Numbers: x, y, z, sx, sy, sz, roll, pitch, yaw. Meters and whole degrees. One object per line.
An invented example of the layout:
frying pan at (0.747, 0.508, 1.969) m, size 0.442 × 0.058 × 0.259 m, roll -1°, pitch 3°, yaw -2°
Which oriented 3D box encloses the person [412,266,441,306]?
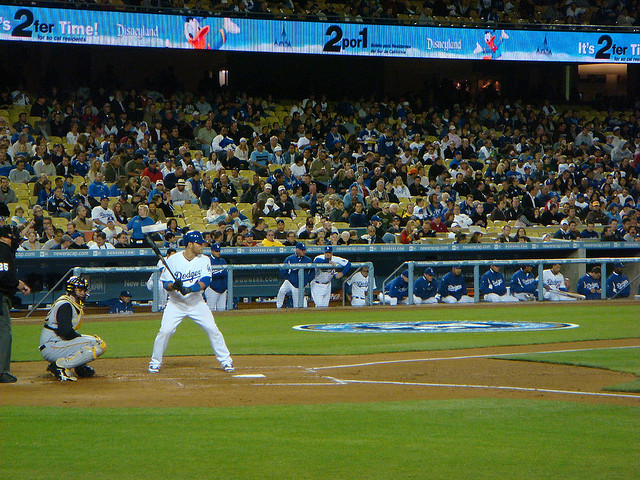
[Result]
person at (3.293, 1.493, 47.940) m, size 0.975 × 1.127 × 0.495 m, roll 1°, pitch -1°, yaw -38°

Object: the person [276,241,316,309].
person at (-0.697, 1.147, 46.733) m, size 1.150 × 1.974 × 0.679 m, roll 0°, pitch -1°, yaw -2°

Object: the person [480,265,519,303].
person at (5.463, 1.329, 48.288) m, size 0.978 × 1.435 × 1.002 m, roll -11°, pitch 11°, yaw -37°

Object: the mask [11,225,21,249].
mask at (-7.535, 0.016, 39.082) m, size 0.313 × 0.444 × 0.375 m, roll 6°, pitch 17°, yaw -13°

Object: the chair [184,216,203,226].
chair at (-3.843, -0.517, 48.080) m, size 0.549 × 0.266 × 0.412 m, roll 0°, pitch -1°, yaw -4°

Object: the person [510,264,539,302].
person at (6.345, 1.352, 48.550) m, size 0.811 × 1.341 × 0.957 m, roll 1°, pitch 8°, yaw -20°

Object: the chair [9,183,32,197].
chair at (-9.066, -1.455, 47.882) m, size 0.444 × 0.470 × 0.424 m, roll 1°, pitch -3°, yaw -17°

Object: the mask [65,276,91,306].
mask at (-6.048, 1.308, 39.394) m, size 0.651 × 0.772 × 0.563 m, roll 9°, pitch 7°, yaw 2°

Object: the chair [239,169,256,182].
chair at (-2.355, -2.073, 51.402) m, size 0.456 × 0.577 × 0.418 m, roll 1°, pitch -3°, yaw -11°
